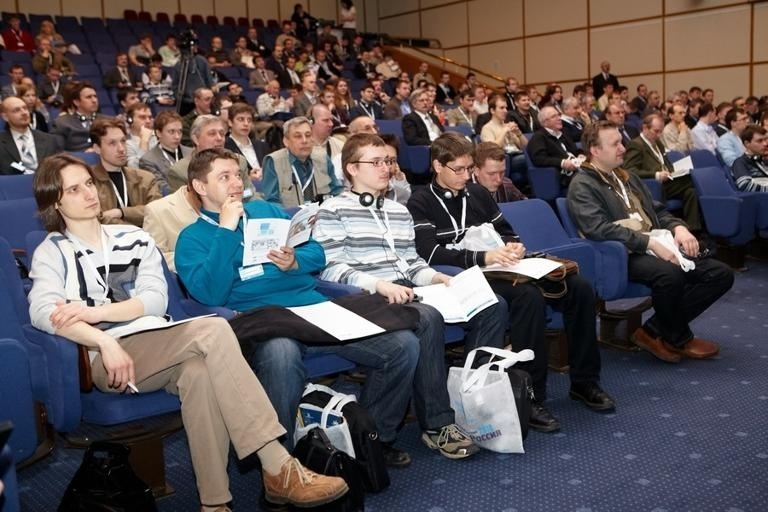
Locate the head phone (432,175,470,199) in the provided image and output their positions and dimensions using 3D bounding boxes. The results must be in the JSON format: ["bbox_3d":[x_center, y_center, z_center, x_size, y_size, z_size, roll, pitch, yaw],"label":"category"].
[{"bbox_3d":[0.383,-0.401,3.158,0.134,0.057,0.157,-5,-12,-11],"label":"head phone"}]

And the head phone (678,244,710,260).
[{"bbox_3d":[2.077,-0.017,3.551,0.163,0.056,0.118,1,8,-22],"label":"head phone"}]

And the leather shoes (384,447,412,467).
[{"bbox_3d":[0.061,0.932,2.505,0.145,0.065,0.058,-5,-2,35],"label":"leather shoes"}]

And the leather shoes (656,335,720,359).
[{"bbox_3d":[1.938,0.601,3.499,0.396,0.177,0.149,-9,8,27],"label":"leather shoes"}]

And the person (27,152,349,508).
[{"bbox_3d":[-0.883,0.296,2.191,1.301,1.393,0.554,6,17,27],"label":"person"}]

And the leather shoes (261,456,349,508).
[{"bbox_3d":[-0.319,0.906,2.195,0.357,0.182,0.155,-2,9,11],"label":"leather shoes"}]

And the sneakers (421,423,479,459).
[{"bbox_3d":[0.323,0.890,2.610,0.255,0.122,0.124,5,9,33],"label":"sneakers"}]

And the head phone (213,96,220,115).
[{"bbox_3d":[-1.693,-1.535,5.479,0.055,0.161,0.115,-1,-2,-7],"label":"head phone"}]

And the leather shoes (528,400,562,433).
[{"bbox_3d":[0.784,0.812,2.788,0.109,0.118,0.248,-6,9,-45],"label":"leather shoes"}]

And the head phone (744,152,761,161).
[{"bbox_3d":[4.026,-1.103,5.868,0.100,0.040,0.092,18,20,10],"label":"head phone"}]

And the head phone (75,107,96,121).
[{"bbox_3d":[-3.222,-1.520,5.832,0.186,0.065,0.184,0,0,-1],"label":"head phone"}]

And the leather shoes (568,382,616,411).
[{"bbox_3d":[1.151,0.757,2.967,0.101,0.099,0.226,-14,13,-33],"label":"leather shoes"}]
